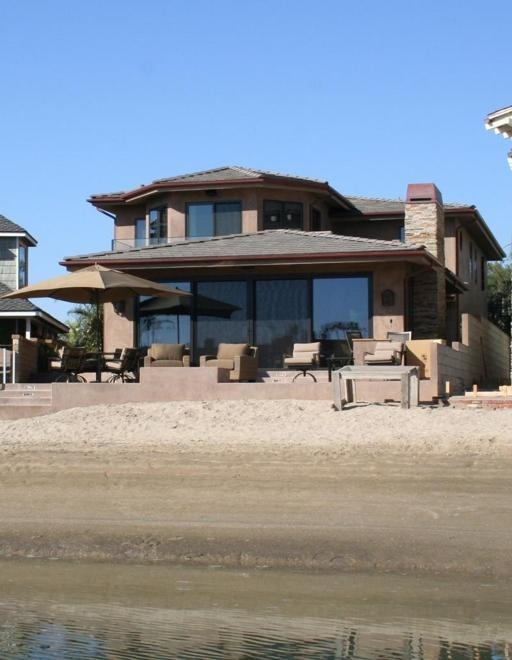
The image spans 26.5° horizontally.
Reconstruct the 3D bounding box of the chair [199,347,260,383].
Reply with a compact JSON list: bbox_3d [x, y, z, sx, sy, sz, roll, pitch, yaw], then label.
[{"bbox_3d":[-0.428,0.566,19.631,0.780,0.821,0.761,-1,-5,21],"label":"chair"}]

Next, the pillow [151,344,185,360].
[{"bbox_3d":[-1.747,0.423,21.109,0.398,0.389,0.120,3,-19,-8],"label":"pillow"}]

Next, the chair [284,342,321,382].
[{"bbox_3d":[0.910,0.565,20.031,0.599,0.837,0.739,-1,-2,13],"label":"chair"}]

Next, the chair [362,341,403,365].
[{"bbox_3d":[2.311,0.405,18.949,0.471,0.409,0.480,-2,-1,26],"label":"chair"}]
